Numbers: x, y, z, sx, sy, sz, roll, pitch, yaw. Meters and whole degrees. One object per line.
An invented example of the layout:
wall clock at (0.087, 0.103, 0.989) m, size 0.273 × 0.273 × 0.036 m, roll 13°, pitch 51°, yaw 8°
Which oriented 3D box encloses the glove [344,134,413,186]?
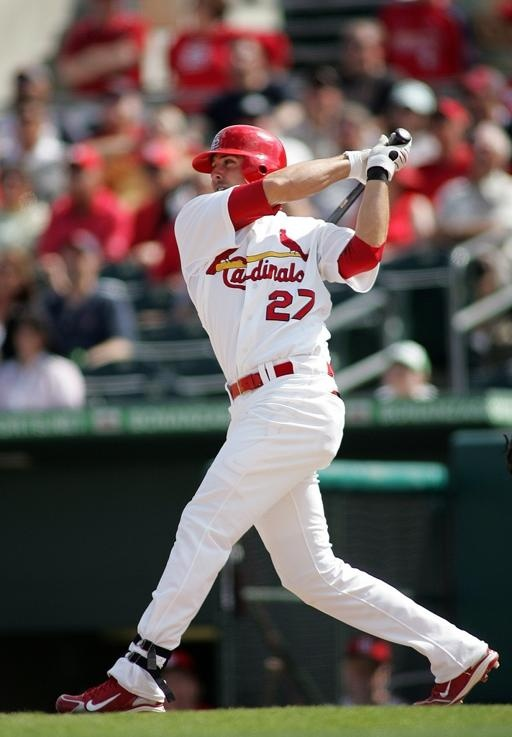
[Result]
glove at (0.358, -0.540, 3.022) m, size 0.175 × 0.072 × 0.135 m, roll -44°, pitch 48°, yaw -11°

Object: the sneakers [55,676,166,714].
sneakers at (-0.376, 0.822, 2.856) m, size 0.325 × 0.104 × 0.105 m, roll 0°, pitch 81°, yaw 8°

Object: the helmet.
helmet at (-0.039, -0.613, 3.190) m, size 0.286 × 0.181 × 0.137 m, roll 7°, pitch 75°, yaw -3°
